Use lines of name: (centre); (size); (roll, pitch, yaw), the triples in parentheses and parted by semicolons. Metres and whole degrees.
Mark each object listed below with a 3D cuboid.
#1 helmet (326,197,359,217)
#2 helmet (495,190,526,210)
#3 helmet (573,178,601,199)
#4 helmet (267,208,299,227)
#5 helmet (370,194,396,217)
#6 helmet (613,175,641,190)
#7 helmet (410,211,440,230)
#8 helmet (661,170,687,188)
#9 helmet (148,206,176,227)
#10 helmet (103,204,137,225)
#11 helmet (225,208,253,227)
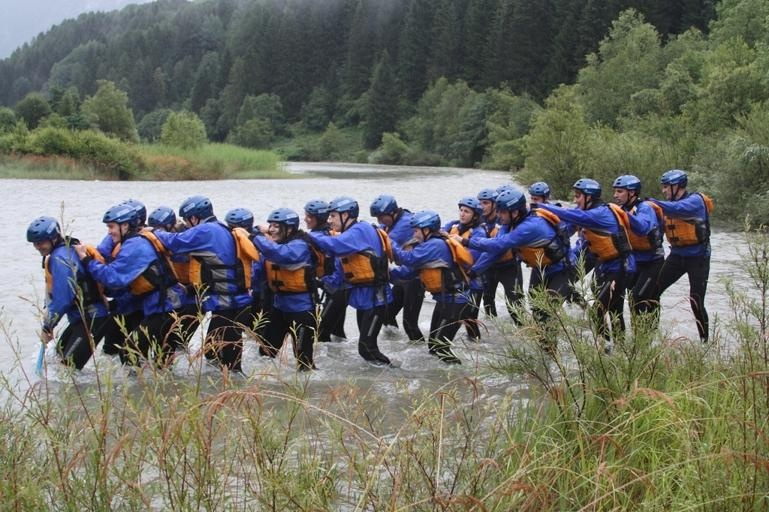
helmet: (-0.626, -0.726, 11.496); (0.387, 0.357, 0.295); (19, -1, 7)
helmet: (1.937, -0.871, 11.590); (0.390, 0.231, 0.284); (2, 26, -1)
helmet: (3.288, -1.128, 12.256); (0.429, 0.324, 0.328); (-5, 18, 7)
helmet: (-1.507, -0.565, 11.054); (0.374, 0.282, 0.284); (-15, 15, -15)
helmet: (-0.055, -0.834, 12.365); (0.408, 0.369, 0.308); (-11, 17, -39)
helmet: (3.944, -1.179, 12.266); (0.358, 0.215, 0.273); (7, 4, 14)
helmet: (0.629, -0.515, 11.587); (0.364, 0.338, 0.288); (12, 10, 8)
helmet: (4.728, -1.293, 12.340); (0.368, 0.340, 0.295); (13, 6, 18)
helmet: (-3.377, -0.595, 11.431); (0.287, 0.349, 0.381); (5, 12, 37)
helmet: (-3.702, -0.570, 10.507); (0.344, 0.312, 0.282); (2, 3, -23)
helmet: (-2.231, -0.588, 11.346); (0.260, 0.310, 0.340); (3, -7, 35)
